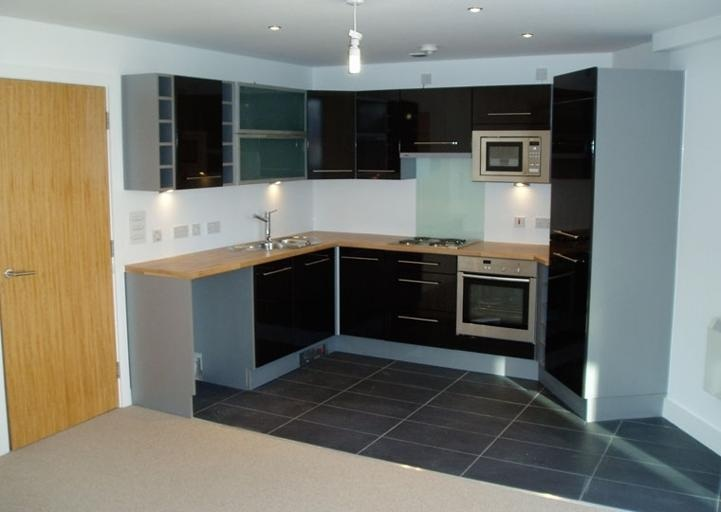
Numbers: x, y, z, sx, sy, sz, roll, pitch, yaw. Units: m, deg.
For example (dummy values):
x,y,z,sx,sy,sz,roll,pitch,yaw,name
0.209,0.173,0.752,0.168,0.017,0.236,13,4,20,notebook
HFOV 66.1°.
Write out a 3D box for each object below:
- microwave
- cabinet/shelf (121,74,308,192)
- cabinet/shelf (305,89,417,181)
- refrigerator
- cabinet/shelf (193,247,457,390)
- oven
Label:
x,y,z,sx,sy,sz,roll,pitch,yaw,name
1.505,-0.981,5.570,0.867,0.550,0.520,3,6,26,microwave
-1.395,-1.143,5.147,0.324,0.645,1.389,3,8,24,cabinet/shelf
0.019,-1.352,6.067,1.022,0.717,0.356,2,6,16,cabinet/shelf
2.187,-0.098,4.821,0.885,2.907,0.769,-2,13,-7,refrigerator
-0.694,0.643,5.653,1.526,1.022,2.169,2,8,23,cabinet/shelf
1.402,0.476,5.816,0.934,0.788,0.621,1,2,24,oven
